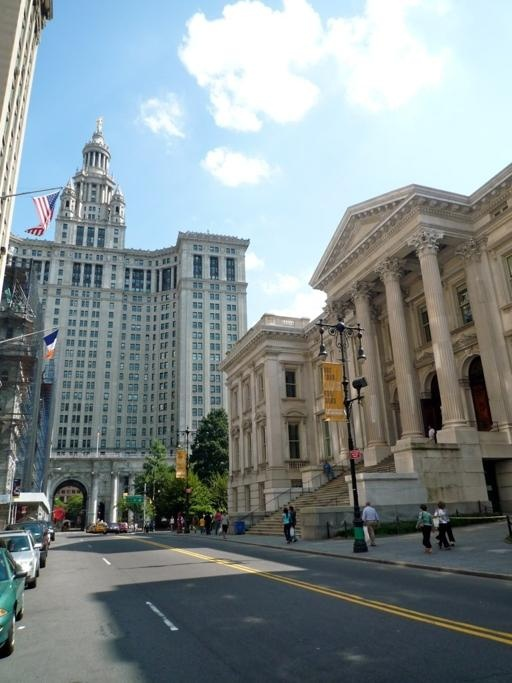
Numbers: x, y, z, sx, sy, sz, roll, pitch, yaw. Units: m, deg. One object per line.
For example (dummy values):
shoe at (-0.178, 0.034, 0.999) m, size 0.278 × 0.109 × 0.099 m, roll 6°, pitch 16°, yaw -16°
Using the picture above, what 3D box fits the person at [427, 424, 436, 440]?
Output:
person at (10.435, 5.563, 27.104) m, size 0.392 × 0.799 × 1.502 m, roll -10°, pitch -17°, yaw 20°

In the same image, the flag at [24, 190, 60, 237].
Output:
flag at (-11.712, -6.993, 25.279) m, size 1.109 × 3.358 × 2.259 m, roll 6°, pitch -19°, yaw -29°

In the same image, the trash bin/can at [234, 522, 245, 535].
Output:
trash bin/can at (-1.214, 14.068, 34.105) m, size 0.784 × 1.123 × 0.788 m, roll -3°, pitch -10°, yaw 2°
